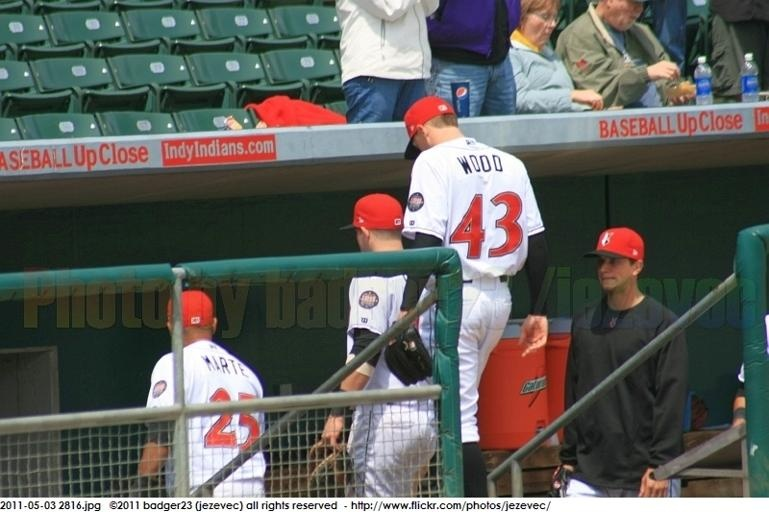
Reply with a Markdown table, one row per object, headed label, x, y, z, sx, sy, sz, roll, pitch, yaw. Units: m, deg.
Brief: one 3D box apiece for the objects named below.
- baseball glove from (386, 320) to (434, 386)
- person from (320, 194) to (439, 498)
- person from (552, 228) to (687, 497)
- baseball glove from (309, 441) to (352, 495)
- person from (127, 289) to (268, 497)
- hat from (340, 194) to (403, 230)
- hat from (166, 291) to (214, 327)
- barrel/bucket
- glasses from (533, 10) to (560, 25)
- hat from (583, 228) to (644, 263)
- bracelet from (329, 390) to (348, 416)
| label | x | y | z | sx | sy | sz | roll | pitch | yaw |
| --- | --- | --- | --- | --- | --- | --- | --- | --- | --- |
| baseball glove | 0.224 | 0.604 | 12.559 | 0.286 | 0.350 | 0.141 | -34 | -10 | 31 |
| person | -0.047 | 0.544 | 12.611 | 0.757 | 1.551 | 1.404 | -4 | 17 | 3 |
| person | 1.559 | 0.731 | 13.314 | 0.895 | 1.621 | 0.996 | 1 | 18 | 19 |
| baseball glove | -0.338 | 1.290 | 12.182 | 0.250 | 0.311 | 0.336 | -1 | -5 | 0 |
| person | -1.141 | 0.785 | 12.335 | 0.776 | 1.201 | 0.976 | -6 | 17 | -4 |
| hat | -0.055 | -0.280 | 13.044 | 0.298 | 0.161 | 0.207 | 6 | 6 | 25 |
| hat | -1.135 | 0.320 | 12.321 | 0.319 | 0.214 | 0.493 | 2 | 2 | -6 |
| barrel/bucket | 0.905 | 0.896 | 13.658 | 0.784 | 0.987 | 0.811 | 0 | 3 | 0 |
| glasses | 1.166 | -1.722 | 14.658 | 0.116 | 0.061 | 0.153 | 5 | 8 | -4 |
| hat | 1.551 | -0.072 | 13.544 | 0.344 | 0.172 | 0.232 | 5 | 0 | -3 |
| bracelet | -0.272 | 0.892 | 12.151 | 0.149 | 0.151 | 0.159 | 1 | -3 | -1 |
